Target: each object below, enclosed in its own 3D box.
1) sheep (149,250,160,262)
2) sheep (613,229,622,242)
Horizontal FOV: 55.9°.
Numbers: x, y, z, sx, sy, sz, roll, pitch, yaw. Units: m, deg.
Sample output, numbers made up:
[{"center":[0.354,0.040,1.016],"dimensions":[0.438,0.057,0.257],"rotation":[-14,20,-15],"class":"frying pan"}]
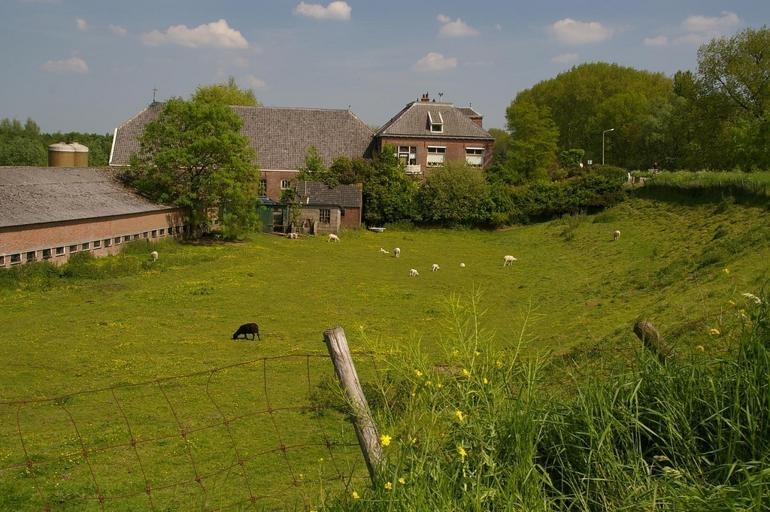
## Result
[{"center":[-11.502,0.076,36.427],"dimensions":[0.599,0.575,0.554],"rotation":[-14,16,-40],"class":"sheep"},{"center":[14.224,-1.194,44.387],"dimensions":[0.325,0.716,1.285],"rotation":[6,11,24],"class":"sheep"}]
